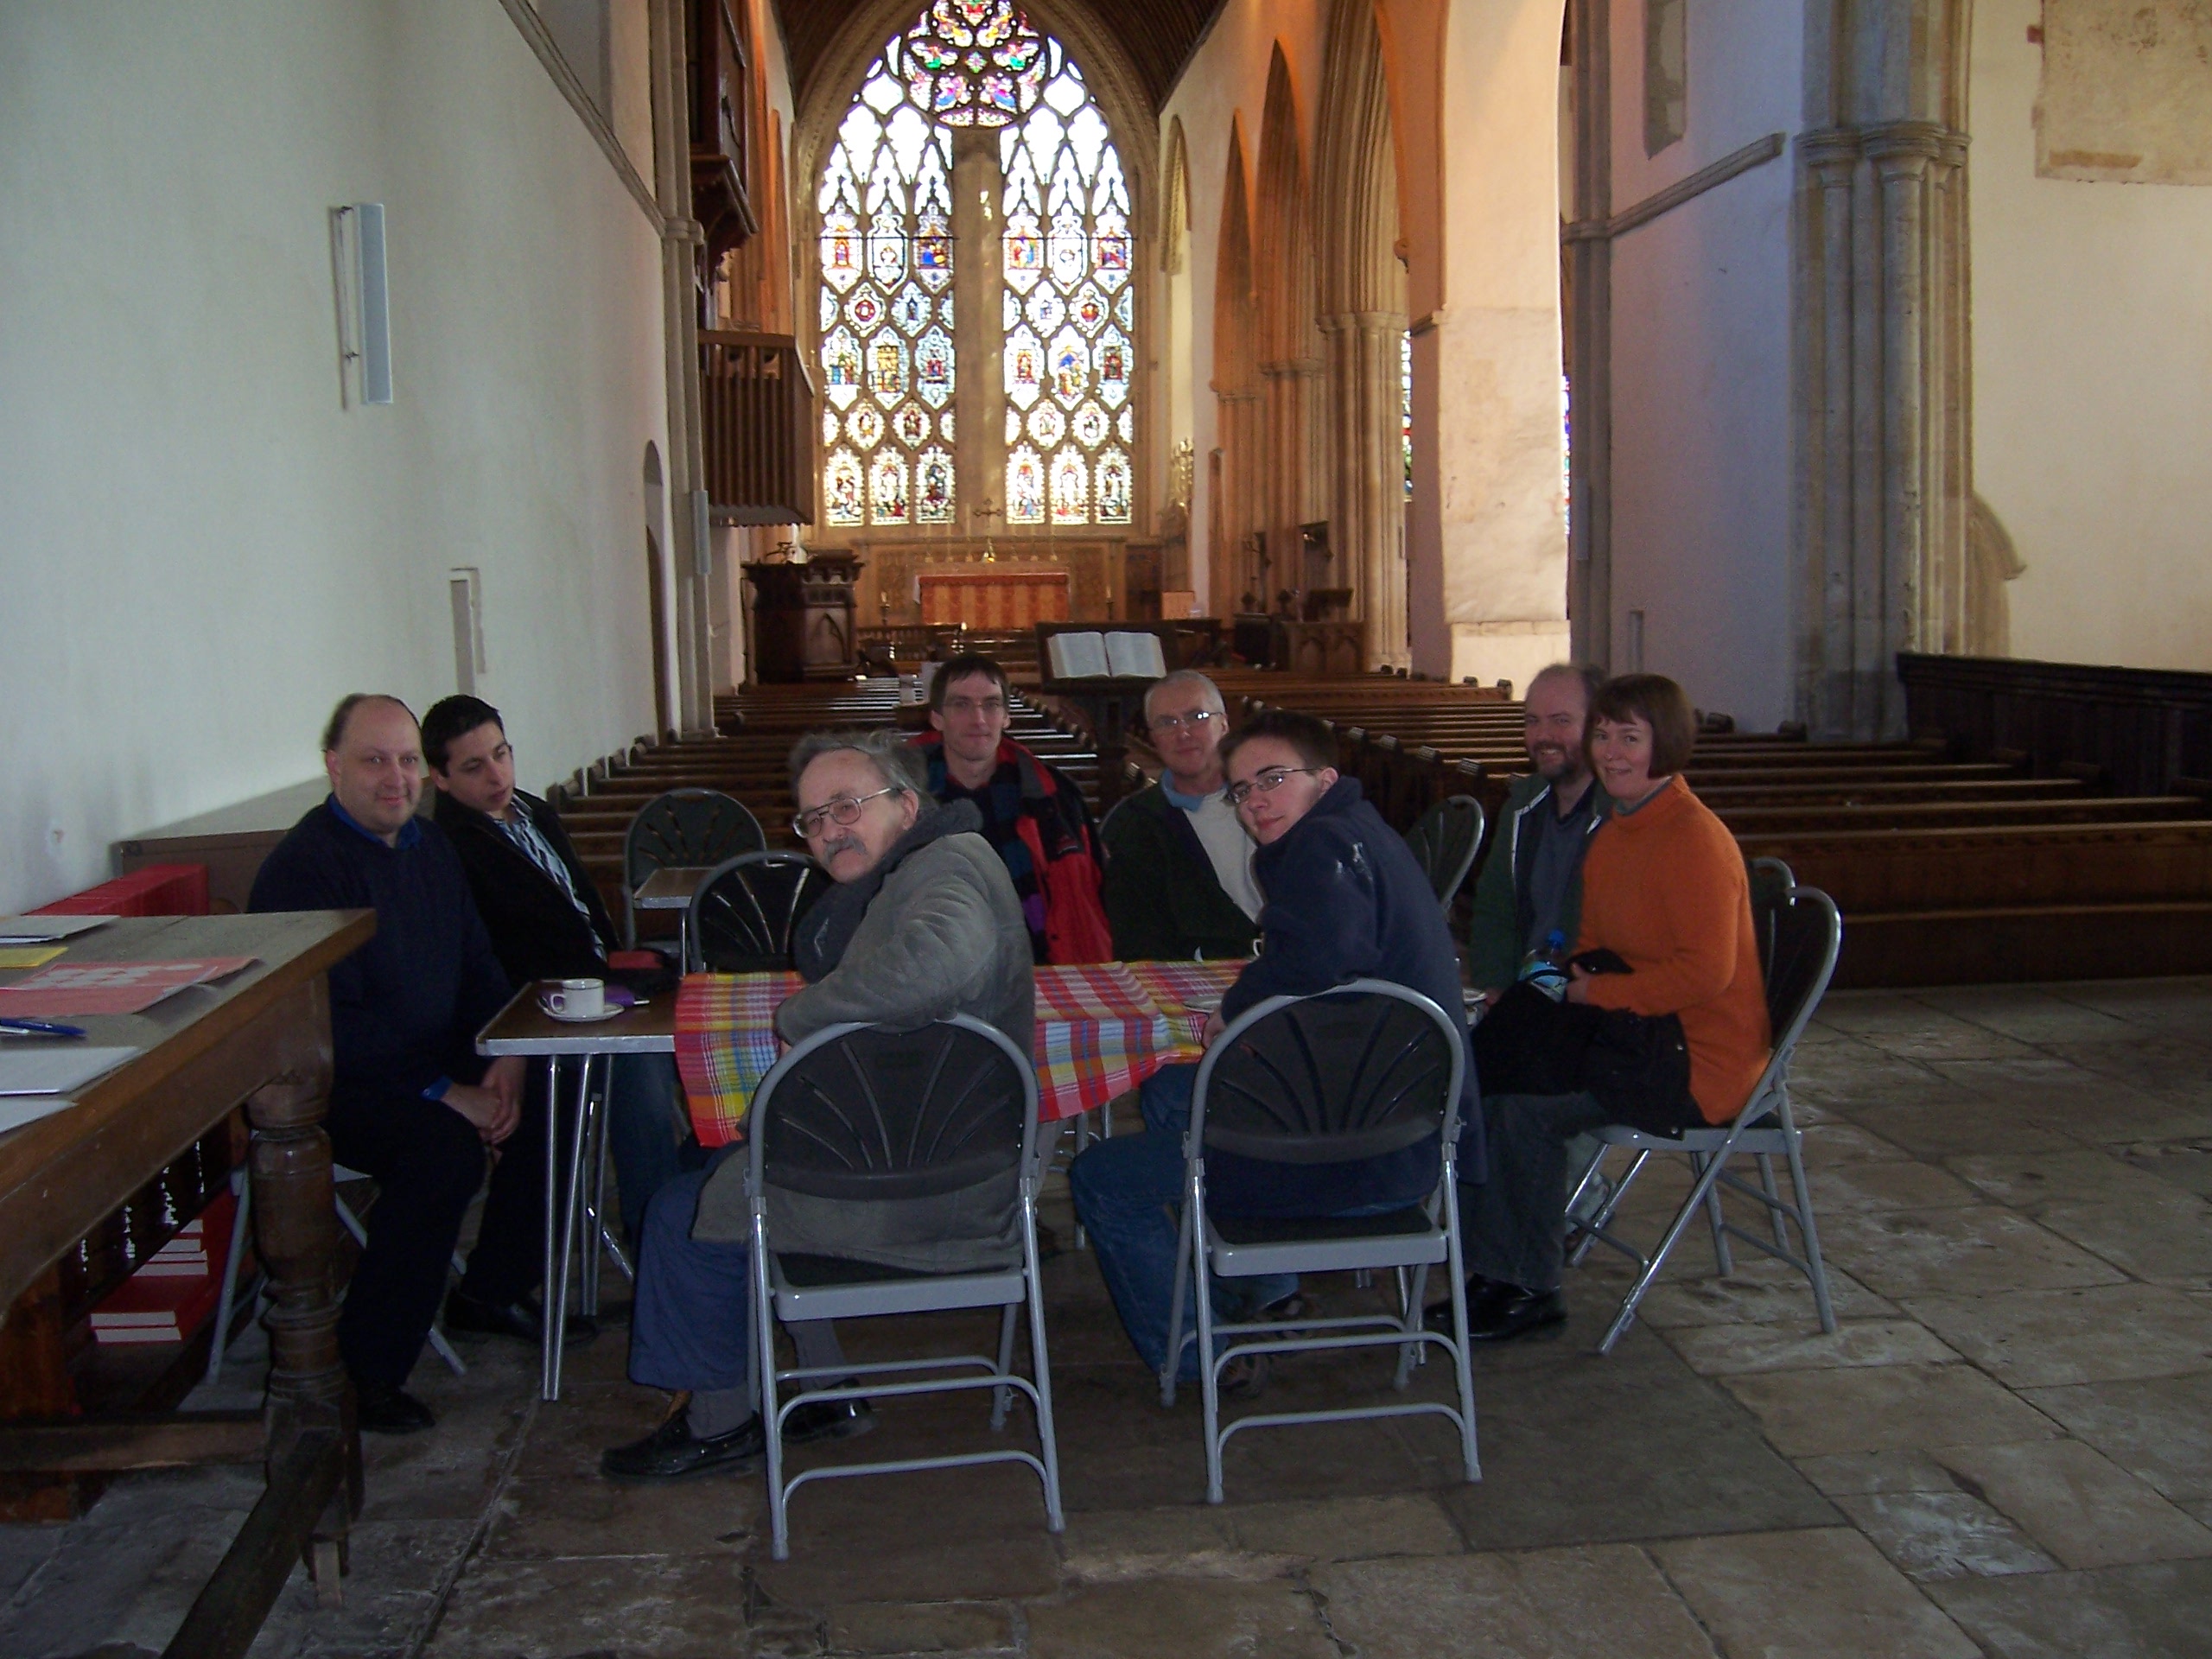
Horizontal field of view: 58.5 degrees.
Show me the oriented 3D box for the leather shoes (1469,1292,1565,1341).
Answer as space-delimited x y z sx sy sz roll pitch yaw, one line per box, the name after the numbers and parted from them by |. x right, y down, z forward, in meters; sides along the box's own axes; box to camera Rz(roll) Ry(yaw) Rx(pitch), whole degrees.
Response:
0.969 1.129 4.620 0.211 0.100 0.091 0 6 -15 | leather shoes

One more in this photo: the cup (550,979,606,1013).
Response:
-1.102 0.346 4.166 0.063 0.055 0.107 -1 -4 -5 | cup

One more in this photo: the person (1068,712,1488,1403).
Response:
0.377 0.491 4.259 0.754 1.445 0.643 -2 -21 17 | person

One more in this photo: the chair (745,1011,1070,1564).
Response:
-0.410 0.806 4.030 0.629 1.099 0.800 -2 12 -6 | chair

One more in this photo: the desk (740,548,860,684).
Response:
-3.073 -2.158 20.527 1.083 1.326 1.094 -8 3 -23 | desk

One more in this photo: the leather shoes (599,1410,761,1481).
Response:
-0.876 1.258 4.076 0.313 0.141 0.131 3 -4 -14 | leather shoes

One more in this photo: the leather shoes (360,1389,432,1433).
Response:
-1.536 1.249 4.279 0.143 0.072 0.069 0 2 5 | leather shoes

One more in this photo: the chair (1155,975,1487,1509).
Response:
0.478 0.746 4.204 0.700 1.082 0.770 -1 12 0 | chair

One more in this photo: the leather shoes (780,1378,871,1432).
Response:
-0.592 1.215 4.202 0.219 0.096 0.093 4 4 -13 | leather shoes

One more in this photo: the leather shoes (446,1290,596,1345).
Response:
-1.387 1.157 4.807 0.379 0.175 0.134 1 2 -4 | leather shoes
